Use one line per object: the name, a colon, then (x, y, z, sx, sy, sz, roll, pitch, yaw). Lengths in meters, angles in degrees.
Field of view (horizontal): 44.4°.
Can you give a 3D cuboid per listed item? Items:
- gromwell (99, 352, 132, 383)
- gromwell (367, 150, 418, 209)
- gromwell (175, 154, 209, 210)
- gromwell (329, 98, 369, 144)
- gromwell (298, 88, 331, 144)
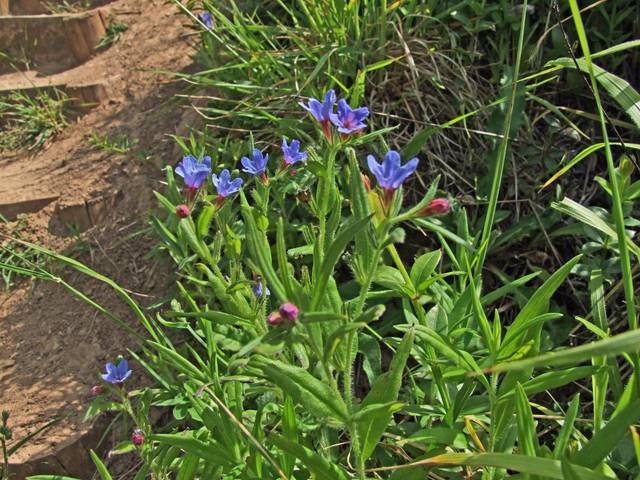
gromwell: (-1.385, 0.866, 5.325, 0.187, 0.143, 0.238, 5, 52, 8)
gromwell: (0.380, -0.355, 4.187, 0.235, 0.405, 0.280, 4, 24, 0)
gromwell: (-0.749, -0.320, 4.506, 0.189, 0.295, 0.199, 20, 22, 41)
gromwell: (0.164, -0.668, 4.363, 0.214, 0.197, 0.159, -21, 46, 3)
gromwell: (0.002, -0.694, 4.424, 0.168, 0.210, 0.209, -4, 50, 18)
